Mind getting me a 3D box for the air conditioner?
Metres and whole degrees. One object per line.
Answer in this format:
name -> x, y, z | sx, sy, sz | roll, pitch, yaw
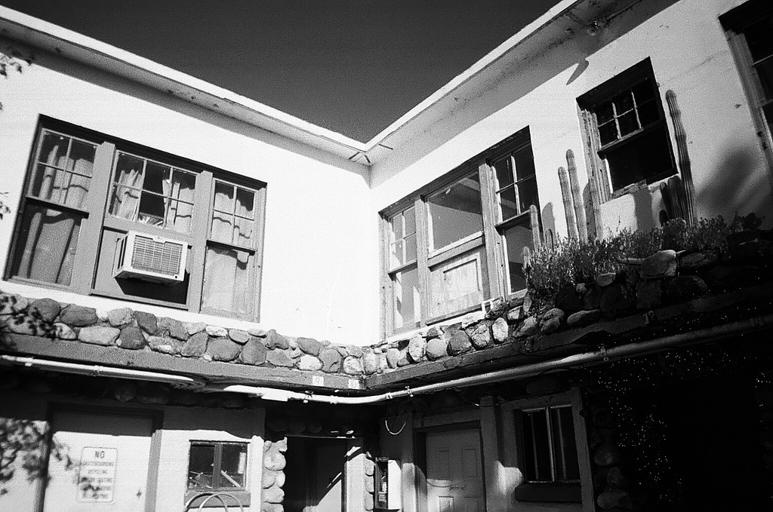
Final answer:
air conditioner -> -3.068, -0.083, 7.585 | 0.743, 0.410, 0.583 | 10, -66, -17
